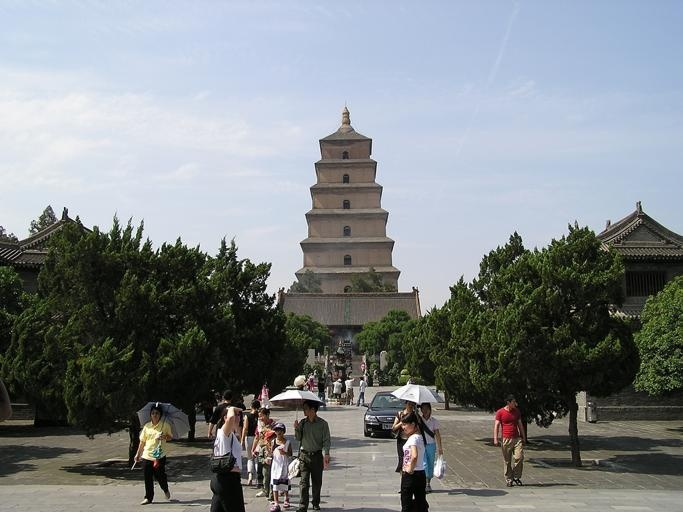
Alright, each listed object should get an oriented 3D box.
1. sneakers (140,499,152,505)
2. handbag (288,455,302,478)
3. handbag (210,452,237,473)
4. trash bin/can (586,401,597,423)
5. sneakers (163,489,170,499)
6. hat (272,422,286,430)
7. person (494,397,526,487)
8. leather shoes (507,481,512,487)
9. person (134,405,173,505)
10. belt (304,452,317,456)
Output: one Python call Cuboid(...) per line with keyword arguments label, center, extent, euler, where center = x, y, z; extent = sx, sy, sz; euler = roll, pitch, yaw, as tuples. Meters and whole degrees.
Cuboid(label="sneakers", center=(-3.884, 4.890, 15.085), extent=(0.194, 0.137, 0.092), euler=(7, -15, -5))
Cuboid(label="handbag", center=(-0.926, 4.117, 14.681), extent=(0.379, 0.389, 0.291), euler=(4, -13, -4))
Cuboid(label="handbag", center=(-1.968, 3.501, 12.826), extent=(0.468, 0.452, 0.283), euler=(-4, -32, 4))
Cuboid(label="trash bin/can", center=(9.860, 6.189, 30.098), extent=(0.419, 0.811, 0.562), euler=(-4, -9, 21))
Cuboid(label="sneakers", center=(-3.572, 4.880, 15.542), extent=(0.137, 0.190, 0.546), euler=(2, -9, -13))
Cuboid(label="hat", center=(-1.183, 3.401, 15.050), extent=(0.219, 0.157, 0.333), euler=(-6, -10, 37))
Cuboid(label="person", center=(3.798, 4.184, 17.211), extent=(0.616, 1.954, 1.179), euler=(-2, -9, 12))
Cuboid(label="leather shoes", center=(3.724, 5.082, 16.856), extent=(0.085, 0.151, 0.087), euler=(-3, -7, 14))
Cuboid(label="person", center=(-3.867, 4.032, 15.630), extent=(0.724, 1.945, 1.013), euler=(2, -9, -14))
Cuboid(label="belt", center=(-0.608, 3.749, 14.368), extent=(0.213, 0.099, 0.046), euler=(0, -9, -6))
